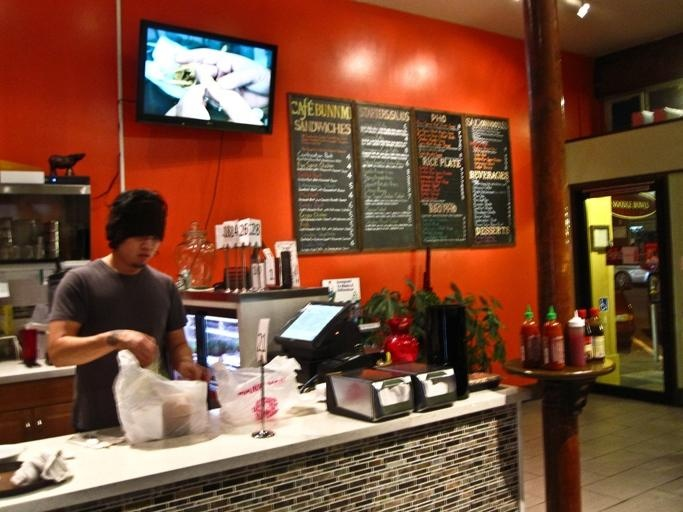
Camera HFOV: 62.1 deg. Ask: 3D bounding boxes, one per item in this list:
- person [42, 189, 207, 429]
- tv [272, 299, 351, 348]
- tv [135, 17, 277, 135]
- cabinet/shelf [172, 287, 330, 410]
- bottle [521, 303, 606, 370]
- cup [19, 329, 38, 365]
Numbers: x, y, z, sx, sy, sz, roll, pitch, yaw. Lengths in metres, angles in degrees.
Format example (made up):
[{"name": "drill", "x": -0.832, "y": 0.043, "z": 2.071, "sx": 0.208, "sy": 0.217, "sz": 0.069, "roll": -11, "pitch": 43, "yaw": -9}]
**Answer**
[{"name": "person", "x": -1.028, "y": 0.265, "z": 2.764, "sx": 0.693, "sy": 0.804, "sz": 0.730, "roll": -2, "pitch": 0, "yaw": -40}, {"name": "tv", "x": -0.165, "y": 0.383, "z": 3.249, "sx": 0.316, "sy": 0.196, "sz": 0.359, "roll": -2, "pitch": 0, "yaw": -43}, {"name": "tv", "x": -1.151, "y": -1.458, "z": 4.624, "sx": 1.070, "sy": 0.736, "sz": 0.113, "roll": 0, "pitch": 11, "yaw": -30}, {"name": "cabinet/shelf", "x": -0.626, "y": 0.776, "z": 3.903, "sx": 0.693, "sy": 1.028, "sz": 1.051, "roll": 6, "pitch": -11, "yaw": -37}, {"name": "bottle", "x": 1.232, "y": 0.441, "z": 3.201, "sx": 0.224, "sy": 0.352, "sz": 0.366, "roll": -3, "pitch": 0, "yaw": 43}, {"name": "cup", "x": -2.026, "y": 0.587, "z": 3.684, "sx": 0.096, "sy": 0.238, "sz": 0.077, "roll": -2, "pitch": -1, "yaw": -30}]
